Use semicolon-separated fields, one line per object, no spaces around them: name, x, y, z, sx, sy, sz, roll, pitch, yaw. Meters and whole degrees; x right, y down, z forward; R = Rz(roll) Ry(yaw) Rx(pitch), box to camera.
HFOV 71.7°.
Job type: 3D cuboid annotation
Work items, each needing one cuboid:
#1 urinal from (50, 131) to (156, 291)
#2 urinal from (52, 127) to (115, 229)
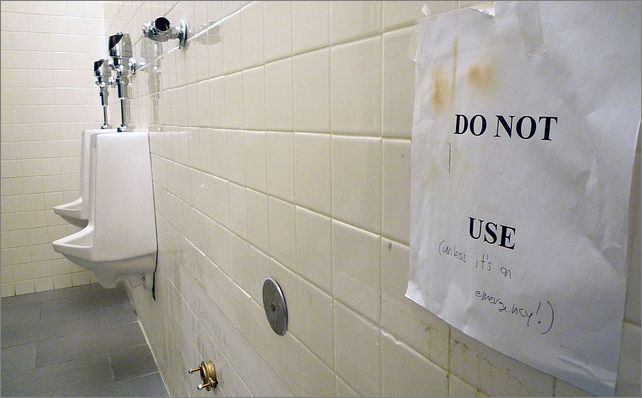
urinal;-1.021;0.095;2.067;0.424;0.820;0.249;-6;16;-31
urinal;-1.527;-0.125;2.752;0.290;0.570;0.298;3;11;-19
